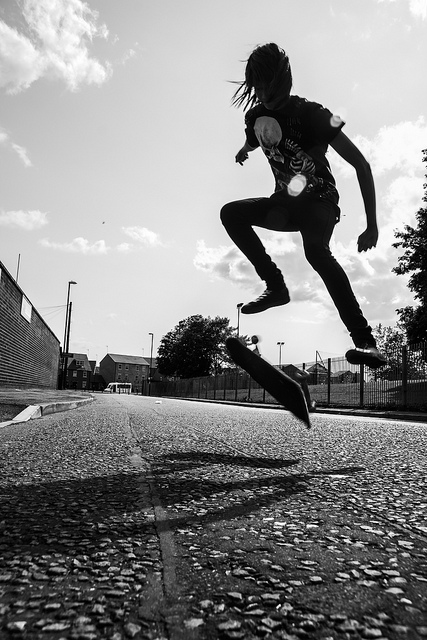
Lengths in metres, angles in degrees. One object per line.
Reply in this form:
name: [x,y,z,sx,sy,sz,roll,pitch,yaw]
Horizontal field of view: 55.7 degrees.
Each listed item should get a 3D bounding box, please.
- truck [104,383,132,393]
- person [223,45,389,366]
truck: [-16.846,11.687,70.370,3.738,1.576,2.966,-1,-11,12]
person: [0.602,-0.799,2.972,1.154,2.190,0.766,-2,-8,29]
